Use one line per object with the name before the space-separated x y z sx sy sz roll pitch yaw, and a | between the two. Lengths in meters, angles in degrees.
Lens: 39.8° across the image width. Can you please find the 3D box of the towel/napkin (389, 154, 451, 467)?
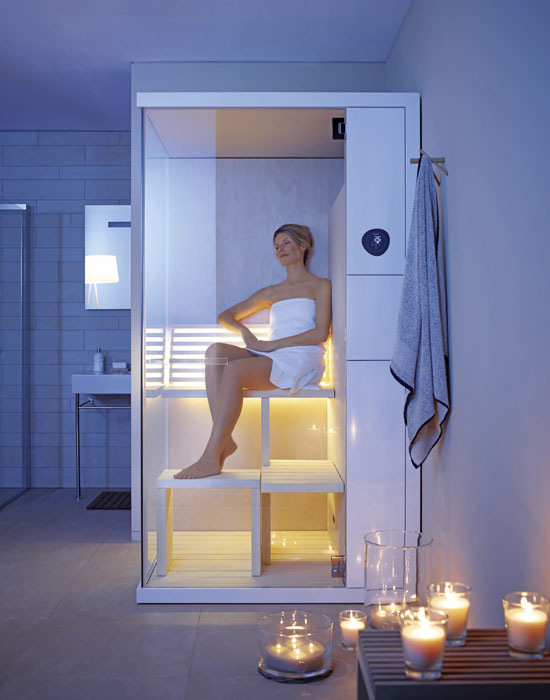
towel/napkin | 0.465 -0.118 2.317 0.182 0.965 0.212 1 3 35

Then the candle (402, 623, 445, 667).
candle | 0.264 0.521 1.353 0.059 0.079 0.074 0 -6 -1

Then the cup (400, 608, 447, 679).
cup | 0.269 0.518 1.361 0.083 0.120 0.095 0 -7 2

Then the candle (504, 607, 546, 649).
candle | 0.463 0.510 1.387 0.070 0.078 0.072 -3 -3 42

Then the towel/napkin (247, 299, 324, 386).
towel/napkin | 0.032 -0.016 2.771 0.165 0.305 0.171 -10 -31 20

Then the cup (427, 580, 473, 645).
cup | 0.369 0.528 1.587 0.099 0.141 0.115 -1 -2 -4

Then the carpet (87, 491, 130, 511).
carpet | -0.903 0.816 4.146 0.223 0.027 0.487 -1 4 -11

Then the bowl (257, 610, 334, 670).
bowl | 0.064 0.781 2.074 0.131 0.096 0.145 -1 1 2

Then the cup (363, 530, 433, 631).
cup | 0.329 0.597 2.056 0.183 0.252 0.191 -1 2 0
